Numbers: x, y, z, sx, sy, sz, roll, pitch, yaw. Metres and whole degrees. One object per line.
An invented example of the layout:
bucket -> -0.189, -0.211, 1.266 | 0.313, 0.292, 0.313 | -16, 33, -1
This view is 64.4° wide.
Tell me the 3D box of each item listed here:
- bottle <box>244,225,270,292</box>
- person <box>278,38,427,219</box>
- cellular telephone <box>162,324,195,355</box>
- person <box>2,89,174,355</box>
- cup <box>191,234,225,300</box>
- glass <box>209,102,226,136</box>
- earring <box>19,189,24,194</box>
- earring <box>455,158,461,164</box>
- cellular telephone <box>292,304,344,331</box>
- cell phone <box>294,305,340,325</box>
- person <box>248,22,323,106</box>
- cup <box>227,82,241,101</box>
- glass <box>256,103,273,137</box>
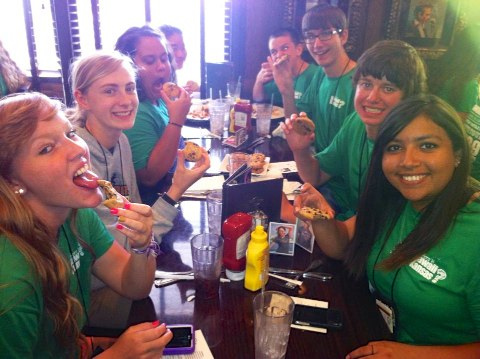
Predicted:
bottle -> 0.075, 0.346, 1.654 | 0.064, 0.275, 0.091 | 12, 21, 36
person -> 0.781, -0.278, 2.396 | 0.780, 1.130, 0.962 | 21, 18, 41
cellular telephone -> -0.228, 0.609, 1.430 | 0.119, 0.084, 0.090 | -1, 17, -3
person -> -0.583, 0.194, 1.485 | 0.525, 1.027, 0.605 | -4, 17, -13
cup -> -0.134, 0.377, 1.656 | 0.144, 0.228, 0.169 | -2, 17, -5
glass -> -0.209, -0.585, 3.658 | 0.151, 0.294, 0.268 | -1, 17, -2
earring -> -0.774, 0.042, 1.346 | 0.019, 0.017, 0.004 | 4, 2, -29
earring -> 0.914, -0.075, 1.593 | 0.009, 0.022, 0.027 | -3, 17, -8
cellular telephone -> 0.313, 0.545, 1.515 | 0.173, 0.025, 0.084 | 3, 33, 8
cell phone -> 0.310, 0.547, 1.526 | 0.179, 0.030, 0.075 | 3, 17, 11
person -> 0.668, -1.308, 4.209 | 0.517, 0.828, 0.831 | -19, 27, -34
cup -> -0.066, -0.996, 4.269 | 0.144, 0.186, 0.297 | -1, 16, -2
glass -> 0.227, -0.546, 3.511 | 0.128, 0.293, 0.203 | 0, 17, 3
